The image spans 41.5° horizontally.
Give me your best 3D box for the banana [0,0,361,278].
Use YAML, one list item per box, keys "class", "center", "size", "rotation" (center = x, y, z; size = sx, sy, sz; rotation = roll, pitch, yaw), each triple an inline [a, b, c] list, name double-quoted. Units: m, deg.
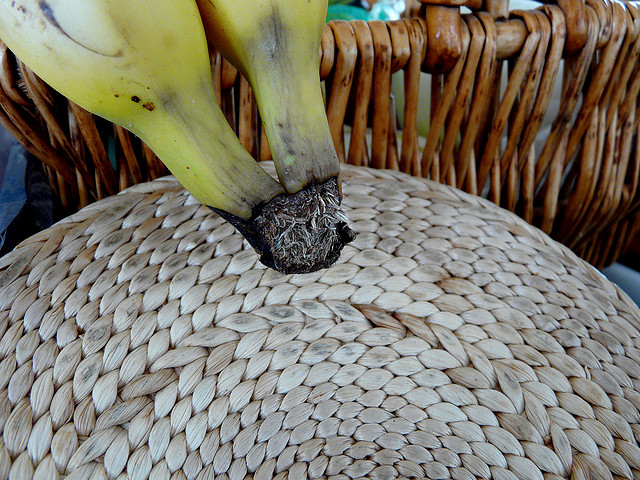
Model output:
- class: "banana"
  center: [-0.092, -0.111, 0.724]
  size: [0.191, 0.254, 0.105]
  rotation: [-33, 22, -2]
